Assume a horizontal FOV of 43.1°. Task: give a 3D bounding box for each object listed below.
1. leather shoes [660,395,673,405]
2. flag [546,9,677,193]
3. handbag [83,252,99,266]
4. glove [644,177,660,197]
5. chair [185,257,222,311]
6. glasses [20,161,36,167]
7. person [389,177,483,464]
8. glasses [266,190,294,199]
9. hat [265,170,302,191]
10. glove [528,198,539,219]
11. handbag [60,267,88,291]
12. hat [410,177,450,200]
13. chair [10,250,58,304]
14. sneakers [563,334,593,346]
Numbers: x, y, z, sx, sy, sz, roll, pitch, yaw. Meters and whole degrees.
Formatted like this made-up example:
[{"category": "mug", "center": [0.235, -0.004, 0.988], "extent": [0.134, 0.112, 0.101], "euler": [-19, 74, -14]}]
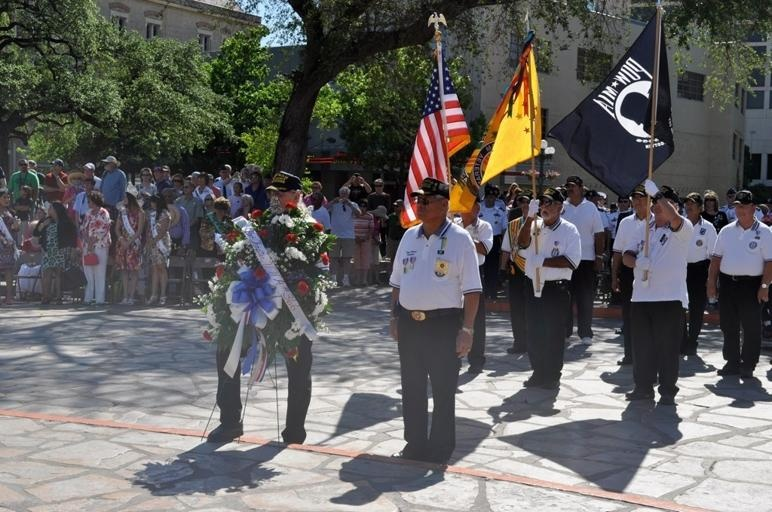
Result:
[{"category": "leather shoes", "center": [3.964, 2.057, 13.870], "extent": [0.150, 0.096, 0.142], "euler": [0, -3, -14]}, {"category": "flag", "center": [3.486, -2.264, 14.474], "extent": [1.548, 2.688, 1.123], "euler": [4, 13, 11]}, {"category": "handbag", "center": [-6.219, 0.056, 20.642], "extent": [0.306, 0.227, 0.085], "euler": [0, 1, 3]}, {"category": "glove", "center": [3.797, -0.959, 14.002], "extent": [0.209, 0.329, 0.663], "euler": [5, 13, 16]}, {"category": "chair", "center": [-3.932, 0.458, 21.290], "extent": [0.811, 1.061, 0.878], "euler": [-2, 15, -25]}, {"category": "glasses", "center": [-9.015, -2.336, 24.697], "extent": [0.228, 0.145, 0.294], "euler": [0, 6, -23]}, {"category": "person", "center": [0.544, 0.786, 12.366], "extent": [1.086, 3.474, 0.969], "euler": [11, 16, 36]}, {"category": "glasses", "center": [-1.387, -0.826, 13.003], "extent": [0.261, 0.071, 0.168], "euler": [3, 1, -12]}, {"category": "hat", "center": [-1.326, -1.016, 13.029], "extent": [0.378, 0.157, 0.267], "euler": [-2, 6, -28]}, {"category": "glove", "center": [2.208, -0.730, 14.692], "extent": [0.098, 0.254, 0.196], "euler": [13, -10, -5]}, {"category": "handbag", "center": [-6.708, 0.475, 20.974], "extent": [0.514, 0.450, 0.242], "euler": [-8, -2, -22]}, {"category": "hat", "center": [0.584, -0.867, 12.371], "extent": [0.392, 0.151, 0.249], "euler": [2, 2, -16]}, {"category": "chair", "center": [-7.695, 0.476, 21.692], "extent": [0.897, 1.431, 1.065], "euler": [1, -4, -6]}, {"category": "sneakers", "center": [3.410, 1.539, 17.712], "extent": [0.655, 0.253, 0.197], "euler": [-6, -1, 24]}]
